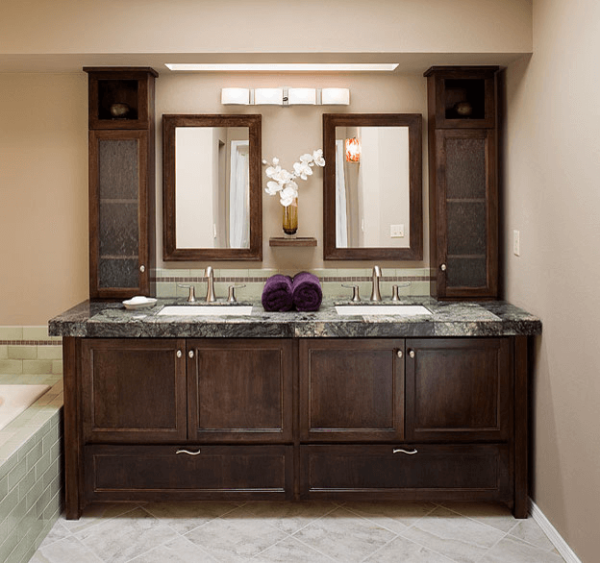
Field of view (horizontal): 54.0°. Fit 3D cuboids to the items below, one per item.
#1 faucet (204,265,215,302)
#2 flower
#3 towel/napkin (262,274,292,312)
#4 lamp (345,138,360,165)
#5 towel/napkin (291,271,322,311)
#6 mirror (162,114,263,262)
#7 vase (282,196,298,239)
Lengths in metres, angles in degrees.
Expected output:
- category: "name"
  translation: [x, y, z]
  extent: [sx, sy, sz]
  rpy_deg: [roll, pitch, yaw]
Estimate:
- category: "faucet"
  translation: [-0.512, 0.014, 3.375]
  extent: [0.051, 0.197, 0.185]
  rpy_deg: [-1, 8, -9]
- category: "flower"
  translation: [-0.065, -0.603, 3.440]
  extent: [0.335, 0.340, 0.146]
  rpy_deg: [-2, -7, -6]
- category: "towel/napkin"
  translation: [-0.112, 0.080, 3.003]
  extent: [0.156, 0.164, 0.053]
  rpy_deg: [0, 8, -1]
- category: "lamp"
  translation: [0.304, -0.756, 3.419]
  extent: [0.096, 0.133, 0.031]
  rpy_deg: [0, 6, 2]
- category: "towel/napkin"
  translation: [0.037, 0.090, 3.057]
  extent: [0.147, 0.147, 0.323]
  rpy_deg: [-4, 3, 2]
- category: "mirror"
  translation: [-0.511, -0.576, 3.384]
  extent: [0.818, 1.138, 0.053]
  rpy_deg: [0, 5, 2]
- category: "vase"
  translation: [-0.054, -0.362, 3.360]
  extent: [0.079, 0.209, 0.076]
  rpy_deg: [-1, 8, -9]
